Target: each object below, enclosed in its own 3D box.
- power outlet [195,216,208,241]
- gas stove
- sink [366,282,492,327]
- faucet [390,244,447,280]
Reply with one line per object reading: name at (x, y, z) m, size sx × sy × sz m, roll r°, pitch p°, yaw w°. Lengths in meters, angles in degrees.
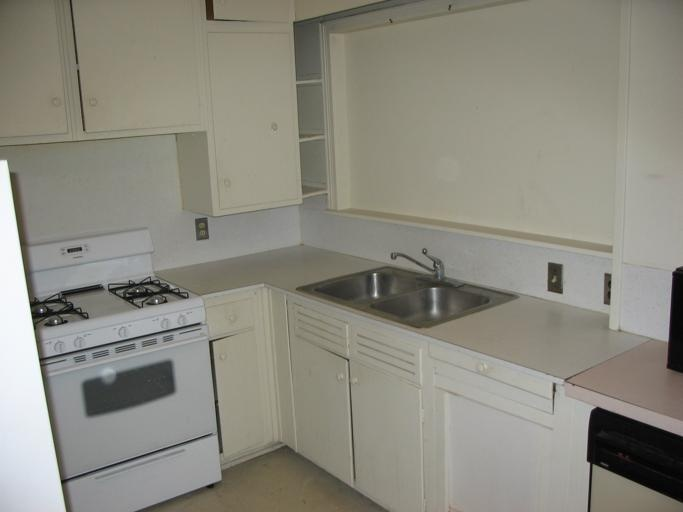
power outlet at (-0.898, -0.172, 3.614) m, size 0.093 × 0.154 × 0.014 m, roll -10°, pitch 16°, yaw -28°
gas stove at (-1.206, 0.255, 2.943) m, size 0.736 × 0.120 × 0.689 m, roll -10°, pitch 17°, yaw -28°
sink at (0.431, 0.261, 2.813) m, size 0.329 × 0.133 × 0.271 m, roll -16°, pitch 22°, yaw -39°
faucet at (0.431, 0.016, 3.041) m, size 0.275 × 0.186 × 0.384 m, roll 0°, pitch 15°, yaw 10°
